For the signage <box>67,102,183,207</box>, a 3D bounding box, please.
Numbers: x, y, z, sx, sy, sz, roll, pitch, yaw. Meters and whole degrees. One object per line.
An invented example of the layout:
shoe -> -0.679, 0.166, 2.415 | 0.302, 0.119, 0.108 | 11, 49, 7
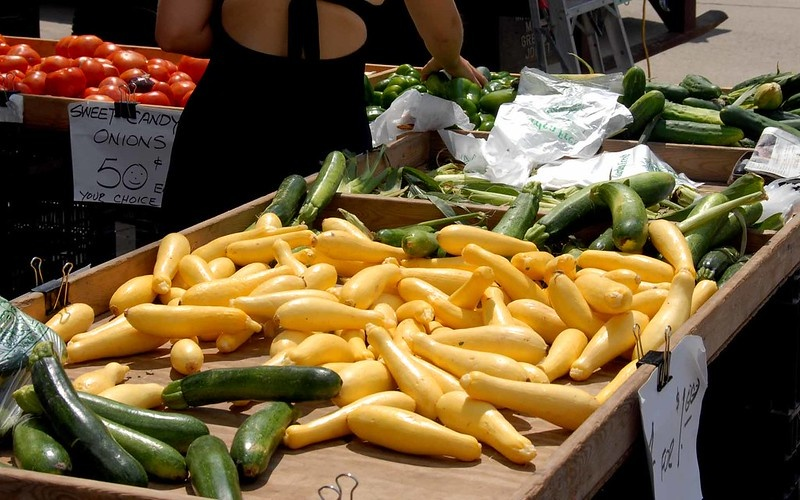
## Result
signage -> -2.053, -0.705, 4.470 | 0.055, 0.763, 0.847 | 16, 14, 32
